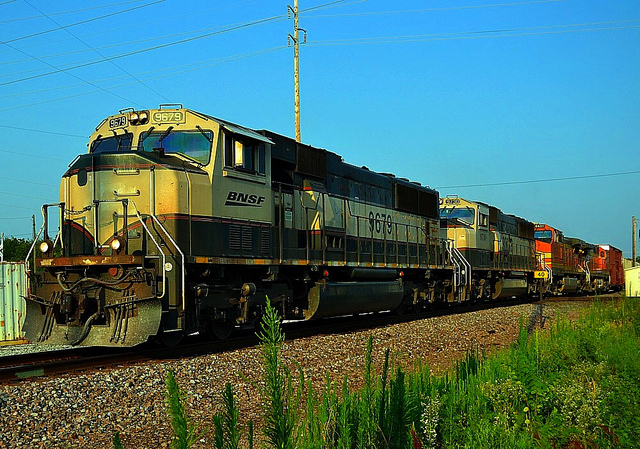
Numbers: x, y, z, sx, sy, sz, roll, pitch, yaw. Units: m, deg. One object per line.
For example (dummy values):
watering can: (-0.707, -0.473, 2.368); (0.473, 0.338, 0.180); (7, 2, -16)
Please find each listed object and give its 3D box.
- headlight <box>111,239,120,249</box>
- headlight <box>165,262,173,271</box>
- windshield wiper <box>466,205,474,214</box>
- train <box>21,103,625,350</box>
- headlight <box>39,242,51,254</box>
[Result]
headlight: (-3.941, 0.390, 11.613); (0.137, 0.161, 0.049); (-2, -11, 21)
headlight: (-2.854, 0.810, 11.294); (0.106, 0.125, 0.034); (1, -6, 3)
windshield wiper: (6.418, -0.593, 25.779); (0.051, 0.392, 0.051); (-17, -20, -20)
train: (0.242, 0.558, 18.128); (3.724, 4.883, 17.006); (-2, -6, 37)
headlight: (-5.662, 0.502, 12.375); (0.179, 0.232, 0.077); (3, 0, 0)
